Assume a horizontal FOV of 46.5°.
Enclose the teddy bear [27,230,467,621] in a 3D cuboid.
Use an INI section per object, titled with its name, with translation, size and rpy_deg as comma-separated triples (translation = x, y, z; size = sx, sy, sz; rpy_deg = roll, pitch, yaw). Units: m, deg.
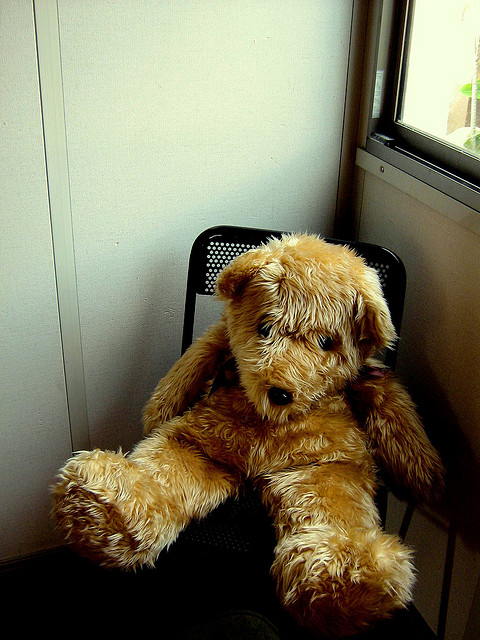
[teddy bear]
translation = 0.029, 0.131, 0.835
size = 0.550, 0.432, 0.474
rpy_deg = 8, 20, 8
